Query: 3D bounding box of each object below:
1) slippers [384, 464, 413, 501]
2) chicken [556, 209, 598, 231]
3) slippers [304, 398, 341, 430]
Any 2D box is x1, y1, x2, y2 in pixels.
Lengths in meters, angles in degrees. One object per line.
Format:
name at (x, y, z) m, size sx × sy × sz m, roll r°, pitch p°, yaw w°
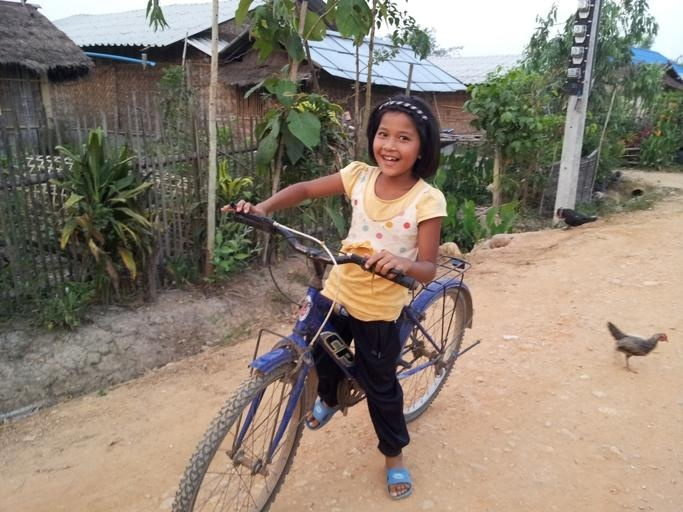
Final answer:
slippers at (0.402, 1.521, 3.517) m, size 0.171 × 0.146 × 0.389 m, roll -6°, pitch 9°, yaw 6°
chicken at (4.038, -0.652, 8.926) m, size 0.328 × 0.371 × 0.788 m, roll -9°, pitch 10°, yaw -33°
slippers at (-0.131, 1.118, 3.601) m, size 0.125 × 0.165 × 0.388 m, roll 12°, pitch -2°, yaw 24°
